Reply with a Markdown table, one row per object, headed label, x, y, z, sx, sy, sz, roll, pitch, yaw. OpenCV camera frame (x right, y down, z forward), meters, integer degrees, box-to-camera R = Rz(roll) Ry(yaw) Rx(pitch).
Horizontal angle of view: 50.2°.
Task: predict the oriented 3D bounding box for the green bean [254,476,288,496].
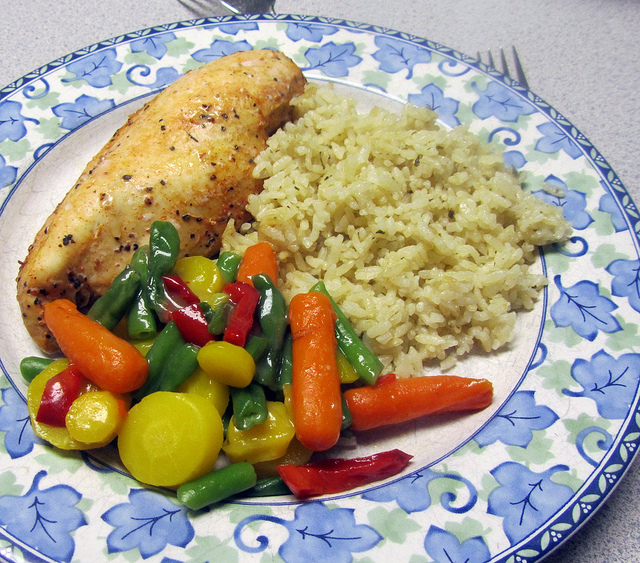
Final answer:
| label | x | y | z | sx | sy | sz | roll | pitch | yaw |
| --- | --- | --- | --- | --- | --- | --- | --- | --- | --- |
| green bean | -0.205 | 0.864 | 2.879 | 0.133 | 0.043 | 0.067 | -15 | 64 | -6 |

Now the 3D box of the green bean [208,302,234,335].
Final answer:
| label | x | y | z | sx | sy | sz | roll | pitch | yaw |
| --- | --- | --- | --- | --- | --- | --- | --- | --- | --- |
| green bean | -0.402 | 0.156 | 2.917 | 0.078 | 0.047 | 0.140 | 8 | 63 | 45 |

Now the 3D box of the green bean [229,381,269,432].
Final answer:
| label | x | y | z | sx | sy | sz | roll | pitch | yaw |
| --- | --- | --- | --- | --- | --- | --- | --- | --- | --- |
| green bean | -0.295 | 0.513 | 2.845 | 0.135 | 0.108 | 0.189 | -16 | 78 | -1 |

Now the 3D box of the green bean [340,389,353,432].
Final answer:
| label | x | y | z | sx | sy | sz | roll | pitch | yaw |
| --- | --- | --- | --- | --- | --- | --- | --- | --- | --- |
| green bean | 0.112 | 0.566 | 2.932 | 0.047 | 0.128 | 0.128 | -16 | 54 | 6 |

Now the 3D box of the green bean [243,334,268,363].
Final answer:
| label | x | y | z | sx | sy | sz | roll | pitch | yaw |
| --- | --- | --- | --- | --- | --- | --- | --- | --- | --- |
| green bean | -0.261 | 0.281 | 2.865 | 0.100 | 0.044 | 0.100 | 32 | 62 | 21 |

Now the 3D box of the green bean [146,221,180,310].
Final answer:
| label | x | y | z | sx | sy | sz | roll | pitch | yaw |
| --- | --- | --- | --- | --- | --- | --- | --- | --- | --- |
| green bean | -0.690 | -0.069 | 3.037 | 0.125 | 0.116 | 0.376 | -1 | 69 | -4 |
